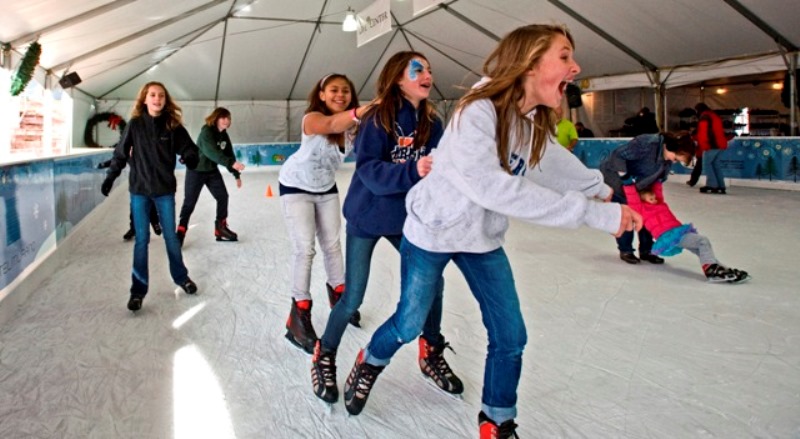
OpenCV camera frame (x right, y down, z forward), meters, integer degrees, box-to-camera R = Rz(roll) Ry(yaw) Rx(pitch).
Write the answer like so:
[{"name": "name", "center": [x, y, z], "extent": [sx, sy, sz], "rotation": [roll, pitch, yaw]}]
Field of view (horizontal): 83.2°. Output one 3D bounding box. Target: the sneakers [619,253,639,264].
[{"name": "sneakers", "center": [3.121, 0.511, 6.089], "extent": [0.130, 0.091, 0.232], "rotation": [1, -4, -13]}]

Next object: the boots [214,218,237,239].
[{"name": "boots", "center": [-2.834, 0.157, 7.210], "extent": [0.380, 0.340, 0.198], "rotation": [4, 10, 27]}]

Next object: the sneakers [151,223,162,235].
[{"name": "sneakers", "center": [-4.128, 0.144, 7.499], "extent": [0.125, 0.138, 0.369], "rotation": [-3, 24, -44]}]

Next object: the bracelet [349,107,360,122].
[{"name": "bracelet", "center": [-0.434, -0.945, 4.052], "extent": [0.047, 0.099, 0.118], "rotation": [-17, 46, -1]}]

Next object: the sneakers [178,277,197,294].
[{"name": "sneakers", "center": [-2.624, 0.818, 5.504], "extent": [0.263, 0.135, 0.104], "rotation": [45, -5, -3]}]

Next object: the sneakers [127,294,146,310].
[{"name": "sneakers", "center": [-3.027, 0.935, 5.082], "extent": [0.102, 0.260, 0.119], "rotation": [20, 17, -28]}]

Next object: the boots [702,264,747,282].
[{"name": "boots", "center": [3.886, 0.643, 5.371], "extent": [0.275, 0.108, 0.357], "rotation": [0, 2, -24]}]

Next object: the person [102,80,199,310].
[{"name": "person", "center": [-2.946, -0.321, 5.288], "extent": [0.994, 2.596, 0.663], "rotation": [-6, 10, -32]}]

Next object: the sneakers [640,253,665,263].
[{"name": "sneakers", "center": [3.430, 0.519, 6.174], "extent": [0.116, 0.134, 0.340], "rotation": [1, 1, -41]}]

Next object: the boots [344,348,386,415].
[{"name": "boots", "center": [-0.358, 1.389, 3.778], "extent": [0.238, 0.304, 0.700], "rotation": [41, 25, -21]}]

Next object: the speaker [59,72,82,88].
[{"name": "speaker", "center": [-8.098, -3.397, 10.819], "extent": [0.383, 0.414, 0.647], "rotation": [-7, 11, -39]}]
